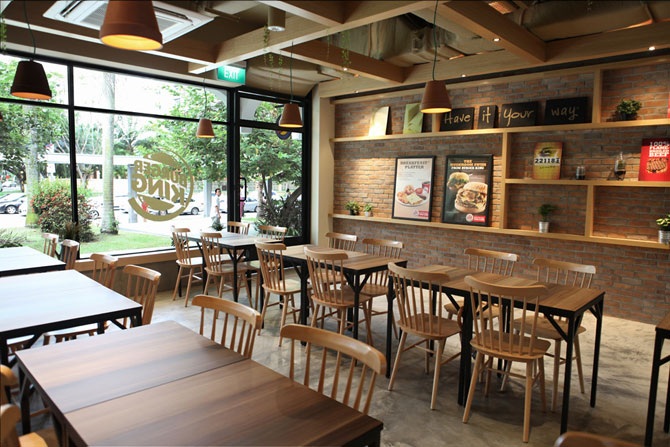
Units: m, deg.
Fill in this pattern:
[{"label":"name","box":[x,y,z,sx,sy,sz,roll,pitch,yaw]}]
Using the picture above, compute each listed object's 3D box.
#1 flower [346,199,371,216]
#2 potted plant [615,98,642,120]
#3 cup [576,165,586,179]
[{"label":"flower","box":[0.493,-0.350,8.676,0.405,0.235,0.341,-4,11,-44]},{"label":"potted plant","box":[4.056,-1.540,6.028,0.383,0.332,0.343,10,16,41]},{"label":"cup","box":[3.622,-0.748,6.367,0.126,0.204,0.176,3,6,27]}]
